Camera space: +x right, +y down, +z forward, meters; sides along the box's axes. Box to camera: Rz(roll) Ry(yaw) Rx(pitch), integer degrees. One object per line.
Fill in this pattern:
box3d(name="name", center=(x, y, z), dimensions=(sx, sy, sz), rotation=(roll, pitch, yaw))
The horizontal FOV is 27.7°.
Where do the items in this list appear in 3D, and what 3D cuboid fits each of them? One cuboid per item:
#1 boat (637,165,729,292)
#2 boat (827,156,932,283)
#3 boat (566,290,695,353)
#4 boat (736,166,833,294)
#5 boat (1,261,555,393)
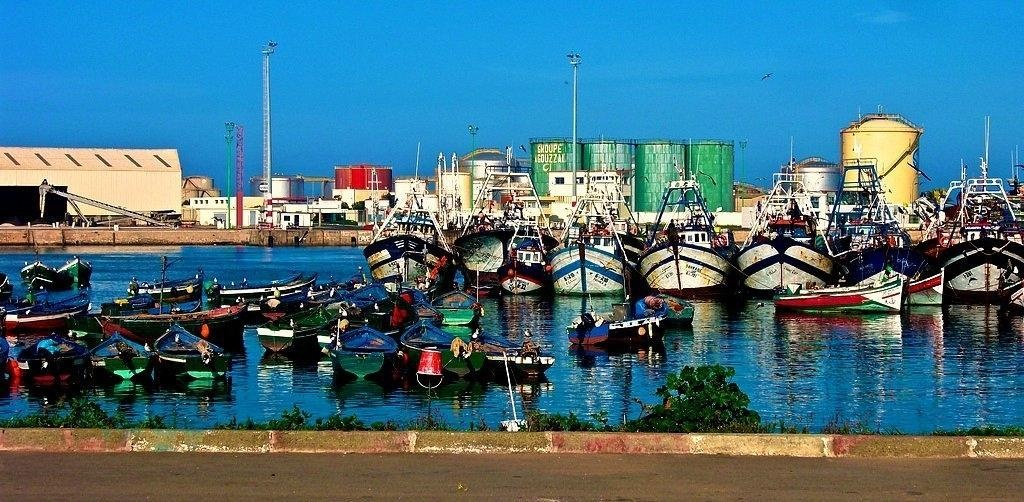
box3d(name="boat", center=(12.915, -1.323, 155.081), dimensions=(7.189, 8.411, 16.891), rotation=(-2, 10, 12))
box3d(name="boat", center=(28.743, -1.645, 164.307), dimensions=(8.522, 10.449, 20.729), rotation=(0, 1, 10))
box3d(name="boat", center=(7.222, 5.188, 135.809), dimensions=(7.100, 2.068, 3.938), rotation=(-7, -6, 17))
box3d(name="boat", center=(20.685, -0.539, 157.457), dimensions=(8.563, 10.325, 22.370), rotation=(1, 1, 12))
box3d(name="boat", center=(-14.884, 5.485, 136.938), dimensions=(38.481, 7.121, 10.348), rotation=(0, -1, 13))
